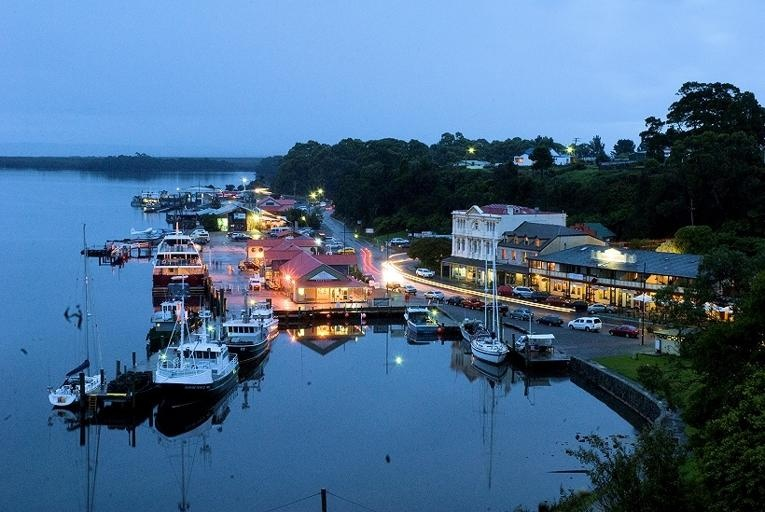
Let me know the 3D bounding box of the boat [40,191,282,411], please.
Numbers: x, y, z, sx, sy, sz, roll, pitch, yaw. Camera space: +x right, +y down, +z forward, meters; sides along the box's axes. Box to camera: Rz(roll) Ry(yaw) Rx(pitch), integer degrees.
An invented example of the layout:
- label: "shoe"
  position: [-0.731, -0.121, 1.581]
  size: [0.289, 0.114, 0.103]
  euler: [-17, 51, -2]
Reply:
- label: "boat"
  position: [-20.389, 4.293, 78.781]
  size: [15.962, 7.199, 38.758]
  euler: [-5, 14, -14]

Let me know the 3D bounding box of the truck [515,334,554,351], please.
- label: "truck"
  position: [12.223, 7.040, 68.921]
  size: [1.808, 0.847, 1.860]
  euler: [1, 0, 2]
